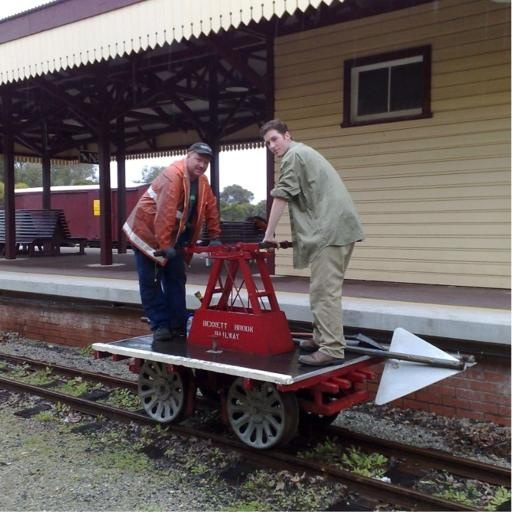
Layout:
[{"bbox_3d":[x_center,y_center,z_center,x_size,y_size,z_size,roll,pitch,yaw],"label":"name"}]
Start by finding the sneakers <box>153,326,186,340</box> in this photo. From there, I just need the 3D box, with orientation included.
[{"bbox_3d":[-0.789,0.712,3.935,0.118,0.131,0.329,0,4,-33],"label":"sneakers"}]

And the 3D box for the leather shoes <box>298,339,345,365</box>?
[{"bbox_3d":[0.416,0.693,3.056,0.362,0.141,0.113,8,-7,-16],"label":"leather shoes"}]

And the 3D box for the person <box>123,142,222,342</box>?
[{"bbox_3d":[-0.713,-0.078,4.051,0.897,1.707,0.801,-2,0,-25],"label":"person"}]

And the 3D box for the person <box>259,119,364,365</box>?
[{"bbox_3d":[0.405,-0.105,3.123,0.698,1.474,0.397,-1,0,10],"label":"person"}]

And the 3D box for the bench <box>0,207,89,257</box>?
[{"bbox_3d":[-6.717,-0.545,13.521,2.592,1.441,2.020,-2,0,36],"label":"bench"}]
